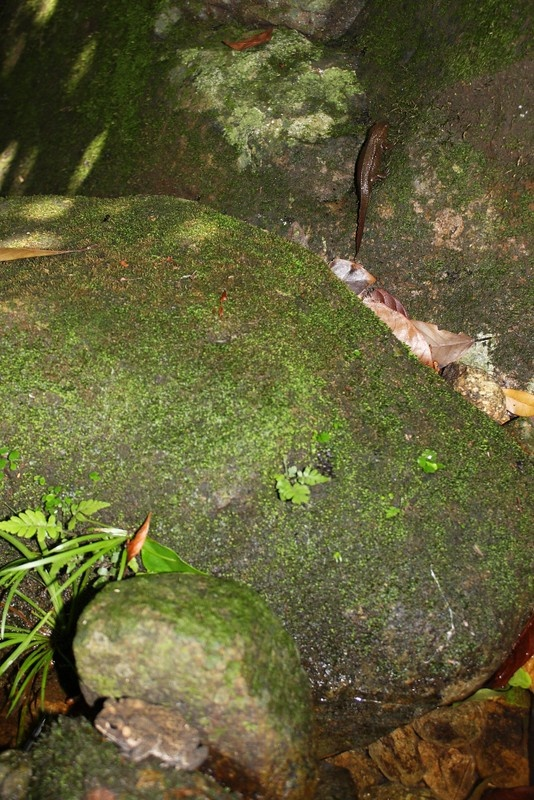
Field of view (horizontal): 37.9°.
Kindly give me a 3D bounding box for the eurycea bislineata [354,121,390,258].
[{"bbox_3d":[0.651,-1.365,5.049,0.186,0.803,0.421,8,34,5],"label":"eurycea bislineata"}]
